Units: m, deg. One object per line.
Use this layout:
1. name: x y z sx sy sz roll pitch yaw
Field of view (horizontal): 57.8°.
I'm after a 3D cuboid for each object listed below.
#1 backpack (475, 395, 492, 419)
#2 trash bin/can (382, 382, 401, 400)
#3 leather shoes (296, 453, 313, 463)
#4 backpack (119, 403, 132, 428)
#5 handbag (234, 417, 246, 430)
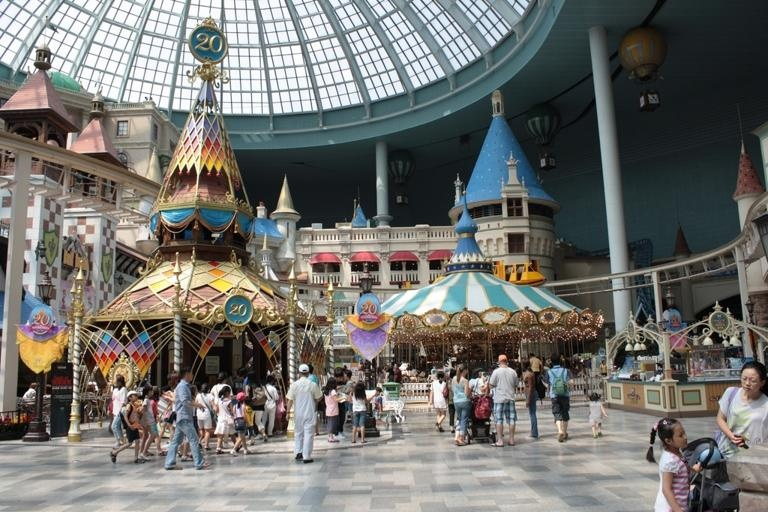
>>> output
1. backpack: 2.729 4.201 19.304 0.581 0.700 0.386 2 -14 -4
2. trash bin/can: 0.252 4.662 23.991 0.649 0.781 0.704 1 -11 -1
3. leather shoes: -2.036 5.126 17.592 0.168 0.199 0.497 2 -2 18
4. backpack: -6.511 4.056 17.521 0.222 0.597 0.588 4 -13 -28
5. handbag: -3.844 4.521 18.646 0.412 0.375 0.256 2 -26 -14
